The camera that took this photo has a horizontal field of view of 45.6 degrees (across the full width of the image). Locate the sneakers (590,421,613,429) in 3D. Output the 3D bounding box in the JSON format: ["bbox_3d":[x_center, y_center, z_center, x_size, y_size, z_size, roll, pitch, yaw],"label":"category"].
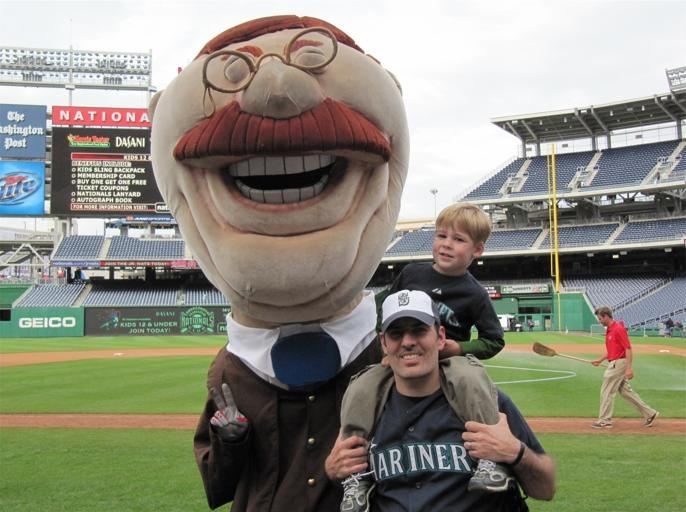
[{"bbox_3d":[5.168,3.407,16.255,0.418,0.163,0.144,4,-5,6],"label":"sneakers"}]

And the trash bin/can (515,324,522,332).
[{"bbox_3d":[8.240,3.400,38.212,0.324,0.372,0.284,-2,-11,17],"label":"trash bin/can"}]
